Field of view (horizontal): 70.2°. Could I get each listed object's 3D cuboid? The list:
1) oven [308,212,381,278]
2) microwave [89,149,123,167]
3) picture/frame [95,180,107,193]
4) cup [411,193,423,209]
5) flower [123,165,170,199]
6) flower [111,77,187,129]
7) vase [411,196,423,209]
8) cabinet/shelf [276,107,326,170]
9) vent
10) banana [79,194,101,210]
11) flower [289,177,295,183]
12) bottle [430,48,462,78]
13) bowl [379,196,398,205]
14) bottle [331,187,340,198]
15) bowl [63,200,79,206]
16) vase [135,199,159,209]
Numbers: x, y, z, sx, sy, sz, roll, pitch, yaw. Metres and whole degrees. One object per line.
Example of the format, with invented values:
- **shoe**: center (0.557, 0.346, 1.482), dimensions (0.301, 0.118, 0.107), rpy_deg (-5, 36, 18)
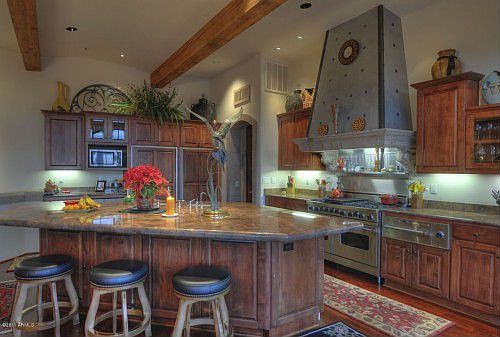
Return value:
- **oven**: center (1.430, 1.414, 6.406), dimensions (1.531, 0.999, 0.958), rpy_deg (14, -33, 2)
- **microwave**: center (-3.089, -0.210, 7.543), dimensions (0.635, 0.405, 0.361), rpy_deg (1, -1, -25)
- **picture/frame**: center (-3.255, 0.396, 7.720), dimensions (0.248, 0.314, 0.033), rpy_deg (3, -22, -19)
- **cup**: center (2.651, 0.535, 5.724), dimensions (0.208, 0.235, 0.208), rpy_deg (1, -6, 0)
- **flower**: center (-1.431, 0.170, 4.846), dimensions (0.507, 0.359, 0.513), rpy_deg (1, 2, -5)
- **flower**: center (-2.301, -1.408, 8.005), dimensions (1.423, 0.668, 1.170), rpy_deg (-1, 4, -9)
- **vase**: center (2.689, 0.545, 5.716), dimensions (0.185, 0.208, 0.194), rpy_deg (3, -5, -31)
- **cabinet/shelf**: center (1.055, -0.593, 7.085), dimensions (0.565, 1.472, 1.310), rpy_deg (1, -2, -30)
- **vent**: center (1.877, -1.573, 6.149), dimensions (1.183, 2.451, 2.188), rpy_deg (9, -8, -30)
- **banana**: center (-2.260, 0.470, 5.012), dimensions (0.185, 0.162, 0.253), rpy_deg (8, -2, 0)
- **flower**: center (0.923, 0.242, 7.791), dimensions (0.118, 0.126, 0.119), rpy_deg (-1, -2, 29)
- **bottle**: center (3.023, -1.574, 5.513), dimensions (0.472, 0.478, 0.451), rpy_deg (0, 0, 30)
- **bowl**: center (2.355, 0.503, 5.966), dimensions (0.181, 0.130, 0.195), rpy_deg (-1, 2, 0)
- **bottle**: center (1.632, 0.463, 6.700), dimensions (0.168, 0.161, 0.167), rpy_deg (-2, 3, -38)
- **bowl**: center (-2.510, 0.474, 4.930), dimensions (0.133, 0.044, 0.134), rpy_deg (1, -2, 0)
- **vase**: center (-1.457, 0.502, 5.048), dimensions (0.236, 0.108, 0.208), rpy_deg (1, -1, -33)
